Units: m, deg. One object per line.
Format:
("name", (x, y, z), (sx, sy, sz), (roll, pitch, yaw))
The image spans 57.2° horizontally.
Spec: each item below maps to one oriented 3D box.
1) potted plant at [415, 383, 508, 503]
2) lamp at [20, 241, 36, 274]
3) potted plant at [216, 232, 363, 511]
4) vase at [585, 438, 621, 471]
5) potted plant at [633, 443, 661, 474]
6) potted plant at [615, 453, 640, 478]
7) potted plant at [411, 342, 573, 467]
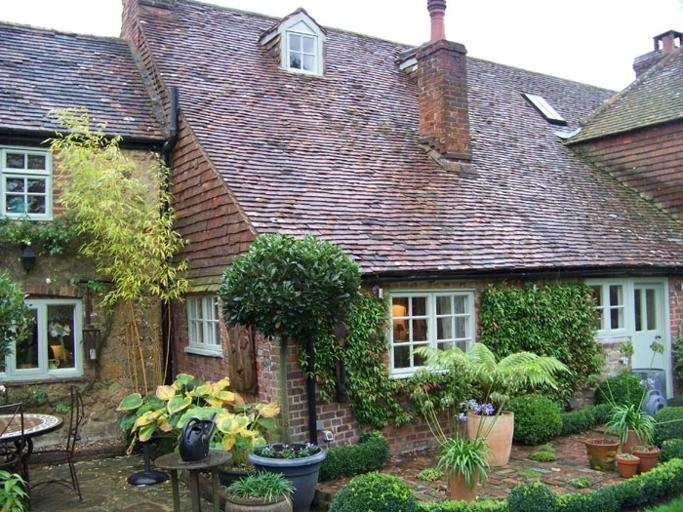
("potted plant", (2.065, 2.878, 9.534), (1.390, 1.476, 1.228), (5, -13, -18))
("lamp", (-5.912, 0.031, 11.770), (0.271, 0.524, 0.209), (5, -9, -29))
("potted plant", (-0.824, 1.296, 9.602), (2.133, 3.238, 1.422), (2, -8, -9))
("vase", (4.120, 3.115, 9.876), (0.451, 0.344, 0.454), (2, -9, -12))
("potted plant", (4.669, 3.087, 9.550), (0.361, 0.291, 0.362), (2, -10, -14))
("potted plant", (4.367, 3.181, 9.553), (0.323, 0.307, 0.339), (2, -9, 0))
("potted plant", (2.363, 2.431, 10.959), (1.944, 1.744, 2.350), (5, -10, -32))
